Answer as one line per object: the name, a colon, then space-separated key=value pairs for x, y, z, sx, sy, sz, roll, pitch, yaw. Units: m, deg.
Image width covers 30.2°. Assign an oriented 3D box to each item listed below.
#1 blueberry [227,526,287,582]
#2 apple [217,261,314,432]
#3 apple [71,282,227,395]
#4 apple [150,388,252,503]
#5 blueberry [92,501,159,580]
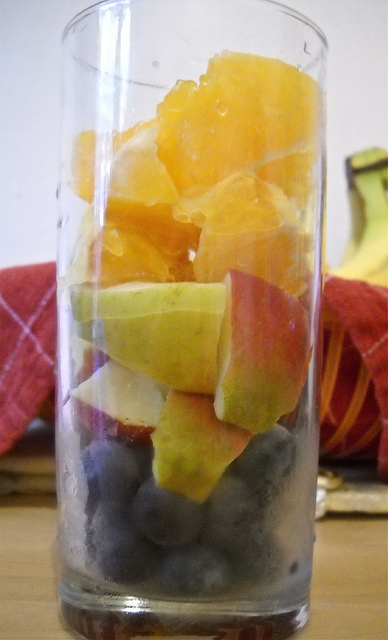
blueberry: x=0.024 y=0.086 z=0.263 sx=0.019 sy=0.015 sz=0.022 roll=0 pitch=-12 yaw=-3
apple: x=0.026 y=0.008 z=0.260 sx=0.017 sy=0.058 sz=0.052 roll=11 pitch=11 yaw=41
apple: x=-0.020 y=0.003 z=0.256 sx=0.063 sy=0.038 sz=0.020 roll=10 pitch=11 yaw=35
apple: x=0.002 y=0.040 z=0.247 sx=0.030 sy=0.036 sz=0.027 roll=0 pitch=0 yaw=-14
blueberry: x=-0.027 y=0.081 z=0.261 sx=0.021 sy=0.029 sz=0.018 roll=-13 pitch=16 yaw=-33
